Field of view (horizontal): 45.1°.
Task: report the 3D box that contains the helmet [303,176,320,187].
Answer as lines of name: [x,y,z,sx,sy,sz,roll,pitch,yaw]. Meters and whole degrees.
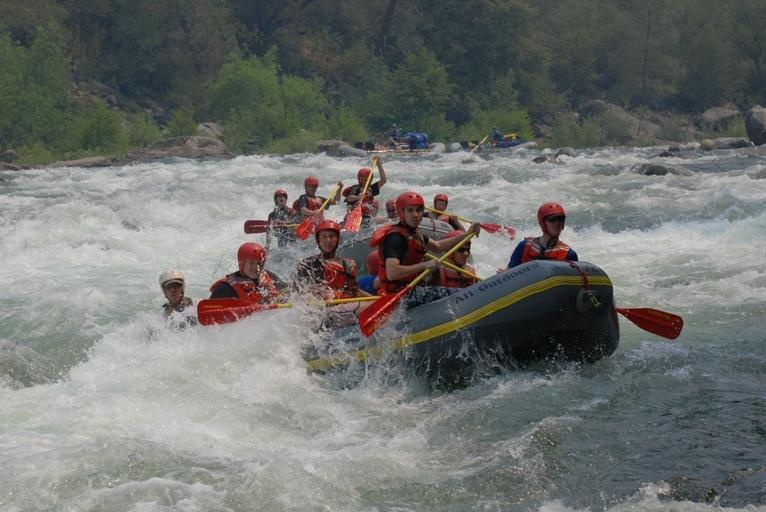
helmet: [-2.078,-2.173,26.879,0.426,0.209,0.567,2,5,-4]

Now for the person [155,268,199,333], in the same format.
person: [-4.784,1.001,21.491,0.767,1.335,0.632,-10,9,-13]

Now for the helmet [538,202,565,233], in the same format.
helmet: [3.856,-0.905,21.211,0.552,0.632,0.471,-6,8,9]

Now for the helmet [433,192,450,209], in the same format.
helmet: [1.644,-1.468,24.888,0.428,0.475,0.536,9,-7,-8]

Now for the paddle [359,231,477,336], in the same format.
paddle: [0.887,0.487,20.661,3.363,0.345,0.386,-40,31,-3]

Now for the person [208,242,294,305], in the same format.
person: [-3.127,0.415,21.766,2.328,1.382,1.091,-5,13,-43]

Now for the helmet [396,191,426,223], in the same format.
helmet: [0.586,-1.208,20.856,0.509,0.504,0.671,0,-1,-23]

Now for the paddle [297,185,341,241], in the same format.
paddle: [-1.775,-1.162,25.588,0.210,0.606,2.846,-45,-2,28]

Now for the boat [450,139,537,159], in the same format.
boat: [5.970,-6.173,52.405,3.516,0.625,1.978,-2,4,39]

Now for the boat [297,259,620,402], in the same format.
boat: [2.181,1.742,20.964,5.219,1.415,2.994,-23,-22,8]
